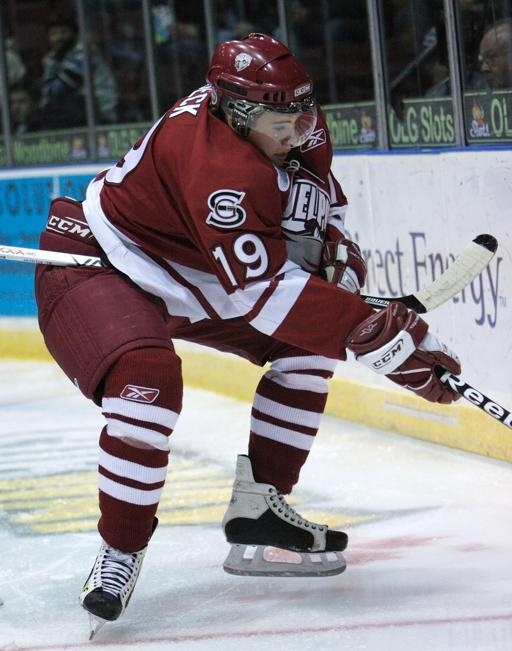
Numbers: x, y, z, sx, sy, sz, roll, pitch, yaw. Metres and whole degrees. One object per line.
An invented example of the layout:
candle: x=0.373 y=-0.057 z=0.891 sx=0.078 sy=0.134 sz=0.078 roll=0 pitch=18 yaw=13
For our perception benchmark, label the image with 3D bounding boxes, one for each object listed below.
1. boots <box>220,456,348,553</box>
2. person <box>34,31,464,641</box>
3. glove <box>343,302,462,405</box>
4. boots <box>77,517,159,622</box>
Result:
boots: x=0.094 y=0.417 z=1.864 sx=0.334 sy=0.188 sz=0.112 roll=-2 pitch=-12 yaw=32
person: x=-0.052 y=-0.031 z=1.665 sx=0.830 sy=1.085 sz=0.488 roll=-9 pitch=8 yaw=-4
glove: x=0.319 y=0.050 z=1.556 sx=0.251 sy=0.087 sz=0.145 roll=32 pitch=-29 yaw=-20
boots: x=-0.268 y=0.471 z=1.560 sx=0.070 sy=0.190 sz=0.081 roll=25 pitch=-27 yaw=2
